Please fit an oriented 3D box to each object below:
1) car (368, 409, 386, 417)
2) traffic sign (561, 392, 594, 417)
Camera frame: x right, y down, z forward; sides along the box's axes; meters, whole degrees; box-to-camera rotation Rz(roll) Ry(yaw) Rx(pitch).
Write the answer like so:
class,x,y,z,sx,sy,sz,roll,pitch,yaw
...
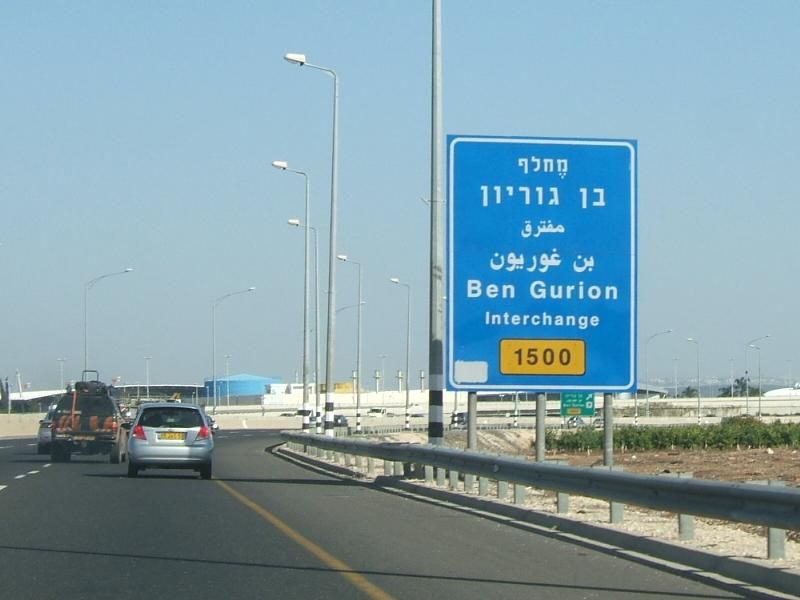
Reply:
class,x,y,z,sx,sy,sz,roll,pitch,yaw
car,-2.412,12.322,135.975,1.615,1.167,1.668,0,1,-24
traffic sign,8.780,5.146,62.806,1.537,1.039,2.407,-2,-3,7
